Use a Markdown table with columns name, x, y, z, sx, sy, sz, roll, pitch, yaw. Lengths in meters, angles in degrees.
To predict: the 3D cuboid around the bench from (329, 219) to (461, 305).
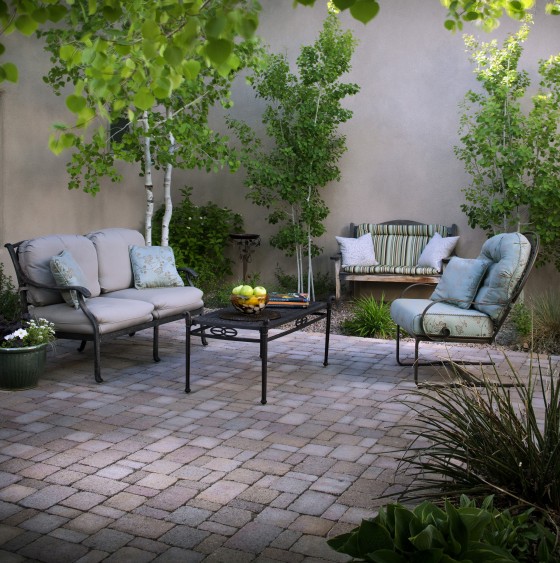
| name | x | y | z | sx | sy | sz | roll | pitch | yaw |
| --- | --- | --- | --- | --- | --- | --- | --- | --- | --- |
| bench | 1.513 | -0.306 | 6.705 | 1.501 | 0.881 | 0.722 | 3 | 22 | 30 |

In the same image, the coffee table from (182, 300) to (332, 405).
| name | x | y | z | sx | sy | sz | roll | pitch | yaw |
| --- | --- | --- | --- | --- | --- | --- | --- | --- | --- |
| coffee table | -0.311 | 0.325 | 3.752 | 0.799 | 0.603 | 1.296 | 2 | 5 | 23 |

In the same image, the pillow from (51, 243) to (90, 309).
| name | x | y | z | sx | sy | sz | roll | pitch | yaw |
| --- | --- | --- | --- | --- | --- | --- | --- | --- | --- |
| pillow | -1.672 | -0.035 | 3.949 | 0.299 | 0.427 | 0.531 | 1 | 10 | 1 |

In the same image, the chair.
| name | x | y | z | sx | sy | sz | roll | pitch | yaw |
| --- | --- | --- | --- | --- | --- | --- | --- | --- | --- |
| chair | 1.425 | 0.174 | 4.032 | 1.096 | 0.980 | 0.852 | -8 | 6 | 2 |

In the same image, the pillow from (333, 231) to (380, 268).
| name | x | y | z | sx | sy | sz | roll | pitch | yaw |
| --- | --- | --- | --- | --- | --- | --- | --- | --- | --- |
| pillow | 1.024 | -0.442 | 6.754 | 0.495 | 0.390 | 0.359 | -2 | 11 | -7 |

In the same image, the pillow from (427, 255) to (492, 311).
| name | x | y | z | sx | sy | sz | roll | pitch | yaw |
| --- | --- | --- | --- | --- | --- | --- | --- | --- | --- |
| pillow | 1.421 | -0.001 | 3.927 | 0.156 | 0.408 | 0.480 | 26 | 2 | -22 |

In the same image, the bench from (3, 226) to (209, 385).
| name | x | y | z | sx | sy | sz | roll | pitch | yaw |
| --- | --- | --- | --- | --- | --- | --- | --- | --- | --- |
| bench | -1.675 | 0.071 | 4.517 | 1.418 | 1.234 | 2.058 | 4 | 4 | 22 |

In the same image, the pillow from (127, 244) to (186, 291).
| name | x | y | z | sx | sy | sz | roll | pitch | yaw |
| --- | --- | --- | --- | --- | --- | --- | --- | --- | --- |
| pillow | -1.227 | -0.162 | 4.835 | 0.529 | 0.417 | 0.151 | -1 | -22 | -33 |
